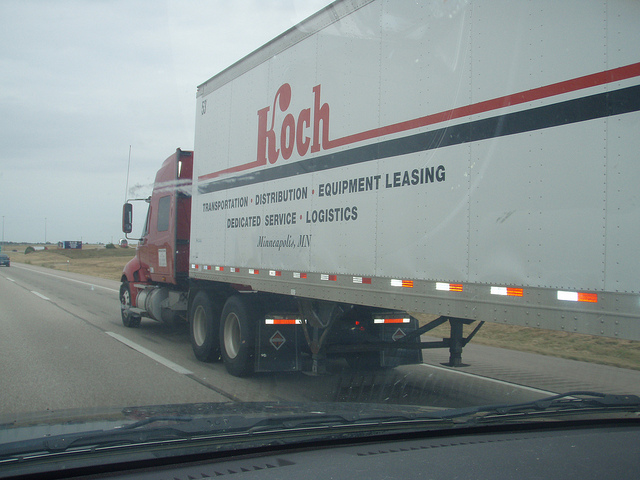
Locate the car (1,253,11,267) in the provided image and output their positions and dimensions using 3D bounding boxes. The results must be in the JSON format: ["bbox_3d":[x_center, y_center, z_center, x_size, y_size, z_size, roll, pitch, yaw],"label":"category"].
[{"bbox_3d":[-27.890,1.796,57.008,0.827,0.811,1.482,-2,11,-32],"label":"car"}]

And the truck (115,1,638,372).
[{"bbox_3d":[0.643,-0.390,7.306,5.759,4.479,1.267,0,-4,44],"label":"truck"}]
